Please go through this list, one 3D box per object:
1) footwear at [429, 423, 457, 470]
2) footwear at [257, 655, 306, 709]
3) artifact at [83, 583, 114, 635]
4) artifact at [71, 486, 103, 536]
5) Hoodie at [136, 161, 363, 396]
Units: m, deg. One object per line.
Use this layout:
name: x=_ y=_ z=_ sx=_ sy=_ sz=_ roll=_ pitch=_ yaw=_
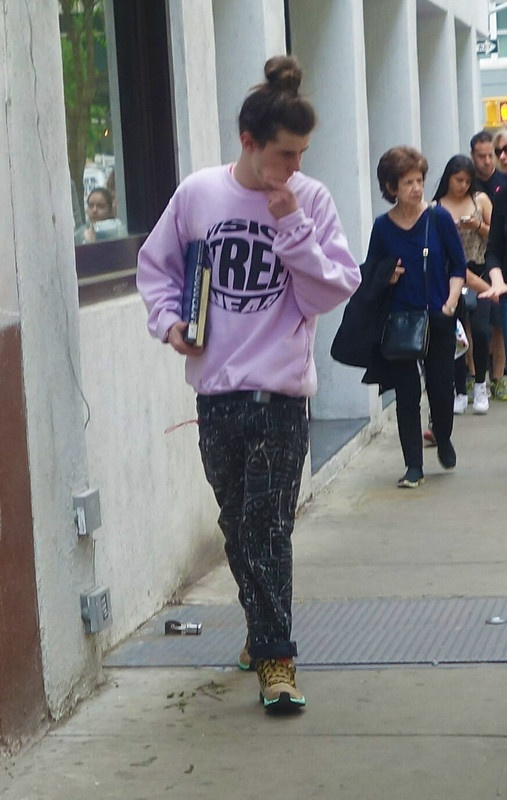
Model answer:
footwear: x=1.101 y=0.277 z=6.643 sx=0.054 sy=0.225 sz=0.086 roll=-14 pitch=-16 yaw=-2
footwear: x=0.075 y=0.759 z=3.098 sx=0.080 sy=0.168 sz=0.305 roll=4 pitch=-11 yaw=-4
artifact: x=-0.459 y=0.618 z=3.356 sx=0.019 sy=0.129 sz=0.107 roll=-2 pitch=-7 yaw=13
artifact: x=-0.494 y=0.325 z=3.337 sx=0.033 sy=0.151 sz=0.129 roll=-2 pitch=1 yaw=14
Hoodie: x=0.009 y=-0.288 z=3.094 sx=0.610 sy=1.016 sz=0.472 roll=1 pitch=2 yaw=-3
